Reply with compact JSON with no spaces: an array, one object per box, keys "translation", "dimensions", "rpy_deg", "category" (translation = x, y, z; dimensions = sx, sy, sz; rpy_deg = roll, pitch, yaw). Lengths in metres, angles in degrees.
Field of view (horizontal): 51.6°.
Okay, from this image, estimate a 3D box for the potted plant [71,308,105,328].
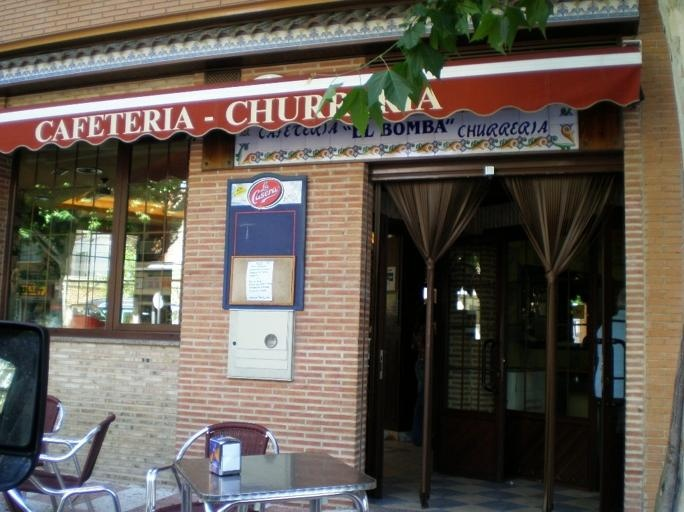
[{"translation":[-3.290,0.797,9.154],"dimensions":[0.417,0.252,0.217],"rpy_deg":[-1,4,1],"category":"potted plant"}]
